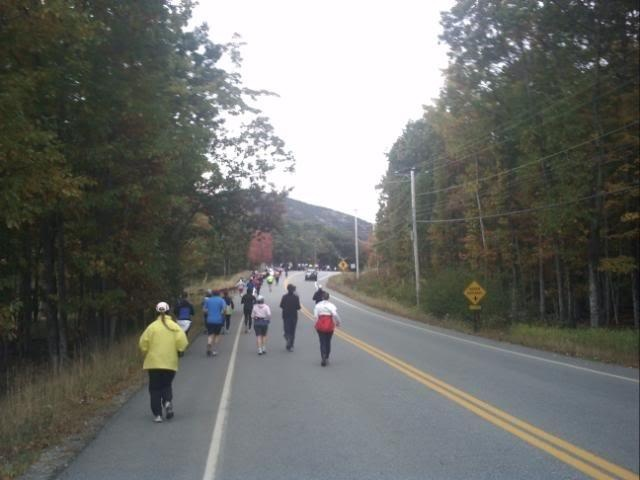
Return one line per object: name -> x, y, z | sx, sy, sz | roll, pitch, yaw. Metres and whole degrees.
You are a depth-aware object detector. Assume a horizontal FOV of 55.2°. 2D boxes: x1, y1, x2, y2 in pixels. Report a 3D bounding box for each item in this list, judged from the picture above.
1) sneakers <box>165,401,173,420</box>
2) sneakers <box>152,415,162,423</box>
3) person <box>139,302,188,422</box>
sneakers -> -3.196, 3.574, 12.813 | 0.153, 0.499, 0.200 | 0, 7, -1
sneakers -> -3.397, 3.705, 12.733 | 0.248, 0.114, 0.203 | -1, -1, 7
person -> -3.344, 2.558, 13.008 | 0.910, 1.948, 0.726 | -1, 1, -19
